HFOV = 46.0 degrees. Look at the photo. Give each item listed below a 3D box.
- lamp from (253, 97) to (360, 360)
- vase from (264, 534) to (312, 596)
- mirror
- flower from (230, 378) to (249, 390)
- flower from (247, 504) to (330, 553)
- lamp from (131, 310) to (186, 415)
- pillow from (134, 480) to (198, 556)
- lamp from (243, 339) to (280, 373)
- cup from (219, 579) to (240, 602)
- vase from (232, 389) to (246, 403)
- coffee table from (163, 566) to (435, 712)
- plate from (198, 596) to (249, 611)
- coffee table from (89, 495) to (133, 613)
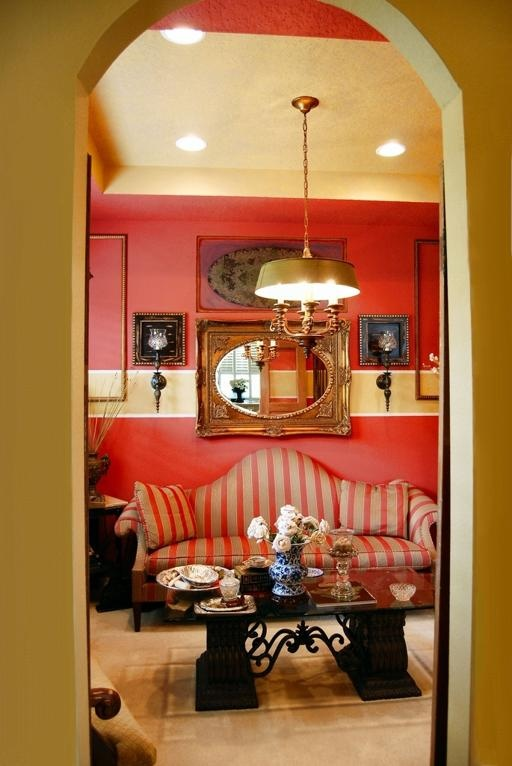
[{"bbox_3d":[0.241,-0.756,3.605,0.734,1.230,2.062,0,-2,9],"label":"lamp"},{"bbox_3d":[0.153,0.899,2.999,0.255,0.298,0.240,1,0,-32],"label":"vase"},{"bbox_3d":[0.074,-0.022,4.321,0.850,0.716,0.060,0,-3,-9],"label":"mirror"},{"bbox_3d":[-0.124,0.011,4.386,0.125,0.076,0.019,1,-2,-13],"label":"flower"},{"bbox_3d":[0.164,0.715,2.931,0.316,0.232,0.321,-2,-5,-7],"label":"flower"},{"bbox_3d":[-0.690,-0.151,4.307,0.378,0.709,0.158,1,-2,-14],"label":"lamp"},{"bbox_3d":[-0.602,0.834,3.834,0.117,0.387,0.418,-30,-19,32],"label":"pillow"},{"bbox_3d":[0.044,-0.196,4.526,0.218,0.224,0.223,2,-3,-3],"label":"lamp"},{"bbox_3d":[-0.120,0.928,2.734,0.078,0.083,0.078,-1,4,0],"label":"cup"},{"bbox_3d":[-0.121,0.106,4.422,0.107,0.129,0.093,1,-12,-2],"label":"vase"},{"bbox_3d":[0.295,1.187,2.910,1.197,0.473,0.669,0,-2,-6],"label":"coffee table"},{"bbox_3d":[-0.134,0.972,2.641,0.233,0.021,0.160,1,-2,-23],"label":"plate"},{"bbox_3d":[-0.960,1.088,3.993,0.277,0.693,0.727,1,-2,-15],"label":"coffee table"}]
